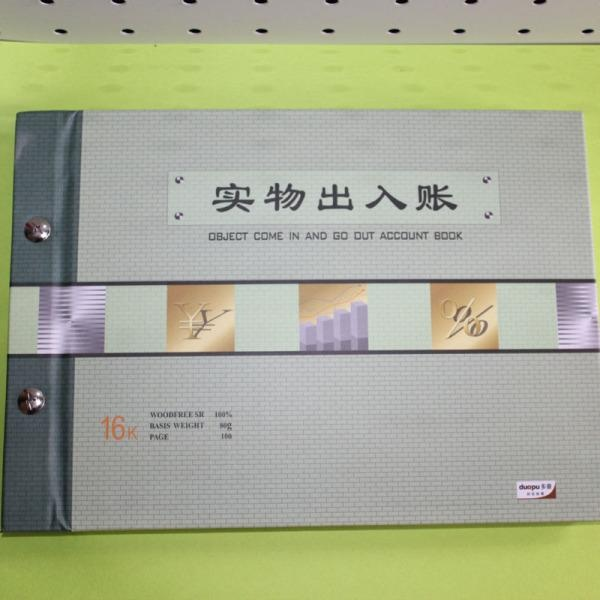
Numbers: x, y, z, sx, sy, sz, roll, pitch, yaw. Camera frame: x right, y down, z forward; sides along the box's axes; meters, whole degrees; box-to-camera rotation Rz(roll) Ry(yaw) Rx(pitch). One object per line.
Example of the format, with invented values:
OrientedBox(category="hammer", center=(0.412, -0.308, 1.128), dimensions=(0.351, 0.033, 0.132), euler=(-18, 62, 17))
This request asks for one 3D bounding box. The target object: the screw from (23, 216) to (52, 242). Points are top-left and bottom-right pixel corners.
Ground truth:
OrientedBox(category="screw", center=(-0.663, -0.177, 1.808), dimensions=(0.066, 0.060, 0.015), euler=(7, -3, -7))

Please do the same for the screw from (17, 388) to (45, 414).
OrientedBox(category="screw", center=(-0.668, 0.249, 1.772), dimensions=(0.068, 0.062, 0.015), euler=(-1, -8, -11))
